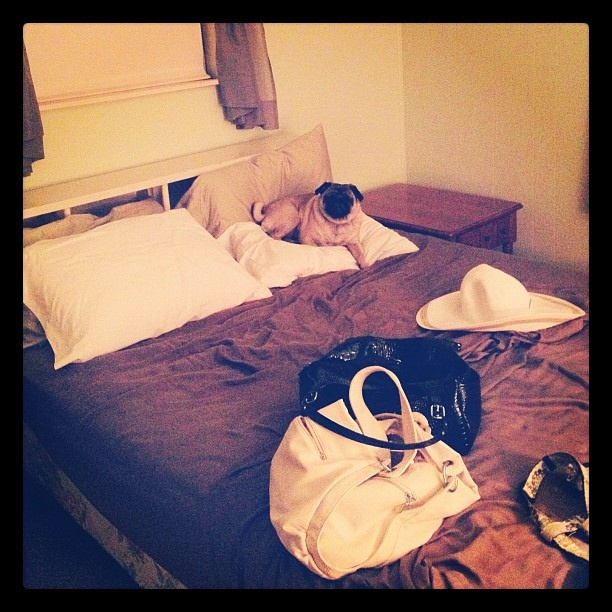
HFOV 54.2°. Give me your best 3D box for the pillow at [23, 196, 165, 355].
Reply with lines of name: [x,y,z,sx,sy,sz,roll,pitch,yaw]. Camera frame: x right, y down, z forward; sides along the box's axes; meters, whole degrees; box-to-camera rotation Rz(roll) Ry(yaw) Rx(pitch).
pillow: [-0.656,-0.083,1.869,0.415,0.109,0.348,-26,39,-29]

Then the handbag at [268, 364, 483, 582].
handbag: [0.164,0.428,1.462,0.503,0.318,0.224,-12,21,-2]

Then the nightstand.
nightstand: [0.448,-0.370,1.902,0.385,0.220,0.259,23,42,31]

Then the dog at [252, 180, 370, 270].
dog: [-0.010,-0.290,1.959,0.358,0.218,0.228,32,30,28]

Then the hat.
hat: [0.529,-0.005,1.721,0.282,0.115,0.241,-2,21,15]

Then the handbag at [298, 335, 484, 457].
handbag: [0.262,0.200,1.613,0.354,0.145,0.308,16,39,20]

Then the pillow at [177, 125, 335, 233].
pillow: [-0.153,-0.395,1.986,0.440,0.156,0.326,-29,50,-4]
